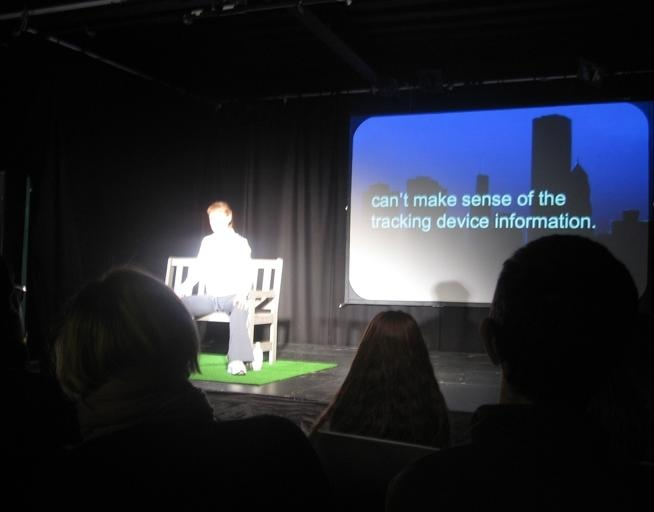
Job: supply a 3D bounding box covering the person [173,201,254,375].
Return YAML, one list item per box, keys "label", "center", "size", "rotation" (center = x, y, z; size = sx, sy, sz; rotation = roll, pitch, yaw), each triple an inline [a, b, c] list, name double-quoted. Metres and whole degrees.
- label: "person"
  center: [-0.908, 0.238, 4.360]
  size: [0.689, 1.279, 0.697]
  rotation: [2, 4, 5]
